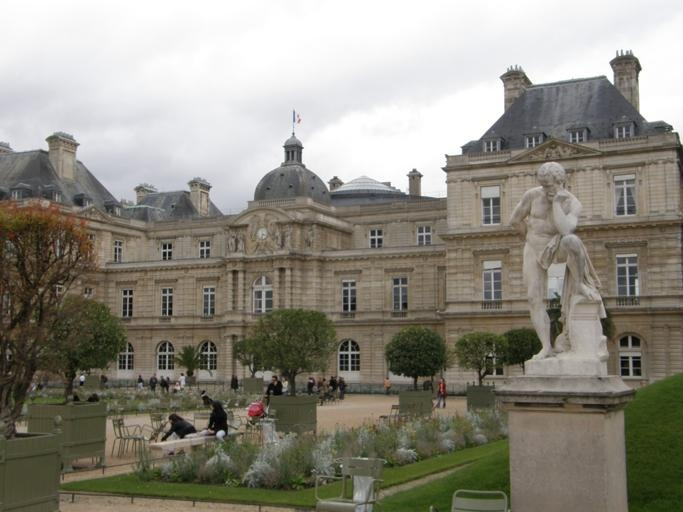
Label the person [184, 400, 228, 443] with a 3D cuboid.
[{"bbox_3d":[-4.112,5.078,35.824,1.097,1.111,0.502,-5,-4,9],"label":"person"}]

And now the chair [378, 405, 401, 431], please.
[{"bbox_3d":[1.735,5.983,42.838,0.867,1.550,0.829,2,-7,3],"label":"chair"}]

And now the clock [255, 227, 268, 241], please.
[{"bbox_3d":[-4.919,-1.388,71.104,0.729,0.750,0.737,0,-7,-11],"label":"clock"}]
